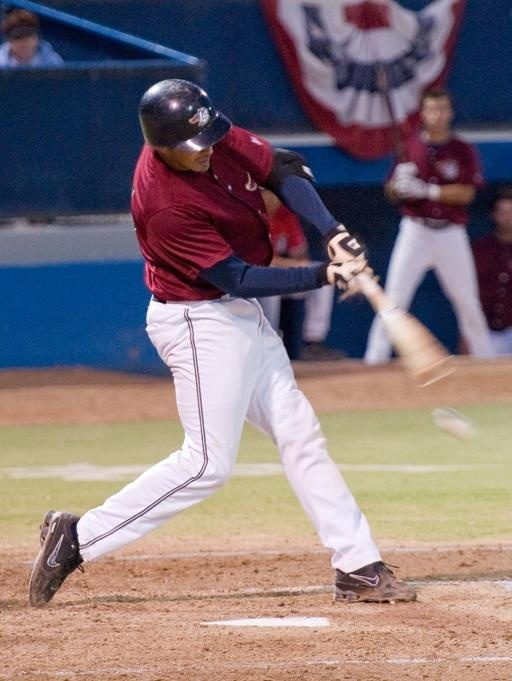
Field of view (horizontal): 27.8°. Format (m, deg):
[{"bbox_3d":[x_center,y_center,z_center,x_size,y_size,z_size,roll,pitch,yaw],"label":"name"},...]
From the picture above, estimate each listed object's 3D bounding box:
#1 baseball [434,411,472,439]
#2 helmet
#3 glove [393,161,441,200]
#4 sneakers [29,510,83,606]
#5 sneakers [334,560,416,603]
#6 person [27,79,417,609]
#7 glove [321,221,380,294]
[{"bbox_3d":[0.614,0.263,3.118,0.131,0.041,0.088,34,0,-43],"label":"baseball"},{"bbox_3d":[-0.191,-0.503,2.350,0.231,0.113,0.156,15,57,28],"label":"helmet"},{"bbox_3d":[0.741,-0.764,4.894,0.260,0.089,0.150,9,63,10],"label":"glove"},{"bbox_3d":[-0.498,0.535,2.626,0.149,0.255,0.098,12,5,-5],"label":"sneakers"},{"bbox_3d":[0.288,0.604,2.595,0.257,0.093,0.087,0,2,4],"label":"sneakers"},{"bbox_3d":[-0.050,0.044,2.554,0.874,1.310,0.508,6,26,-1],"label":"person"},{"bbox_3d":[0.176,-0.187,2.349,0.114,0.152,0.053,-26,-5,-46],"label":"glove"}]
